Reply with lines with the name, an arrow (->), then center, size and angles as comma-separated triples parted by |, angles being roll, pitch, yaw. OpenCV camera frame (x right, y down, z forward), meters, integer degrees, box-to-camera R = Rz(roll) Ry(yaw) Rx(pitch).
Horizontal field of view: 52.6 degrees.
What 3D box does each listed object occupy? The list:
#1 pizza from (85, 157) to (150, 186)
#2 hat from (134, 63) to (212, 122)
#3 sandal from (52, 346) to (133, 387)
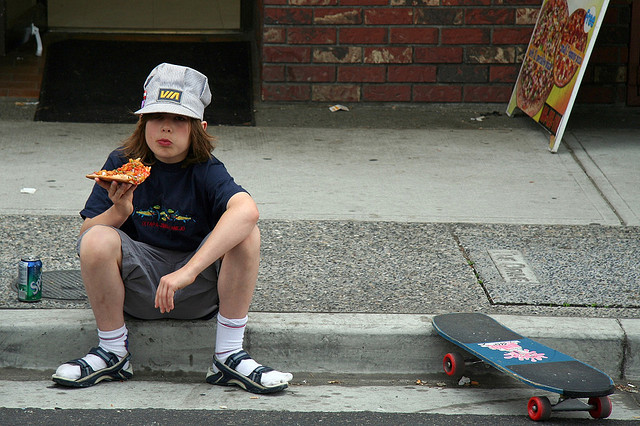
pizza -> -1.095, -0.241, 3.652 | 0.356, 0.151, 0.417 | -7, 17, -23
hat -> -0.830, -0.699, 3.773 | 0.371, 0.199, 0.394 | 6, 5, 2
sandal -> -1.305, 0.891, 3.780 | 0.478, 0.170, 0.198 | 6, -12, -44
